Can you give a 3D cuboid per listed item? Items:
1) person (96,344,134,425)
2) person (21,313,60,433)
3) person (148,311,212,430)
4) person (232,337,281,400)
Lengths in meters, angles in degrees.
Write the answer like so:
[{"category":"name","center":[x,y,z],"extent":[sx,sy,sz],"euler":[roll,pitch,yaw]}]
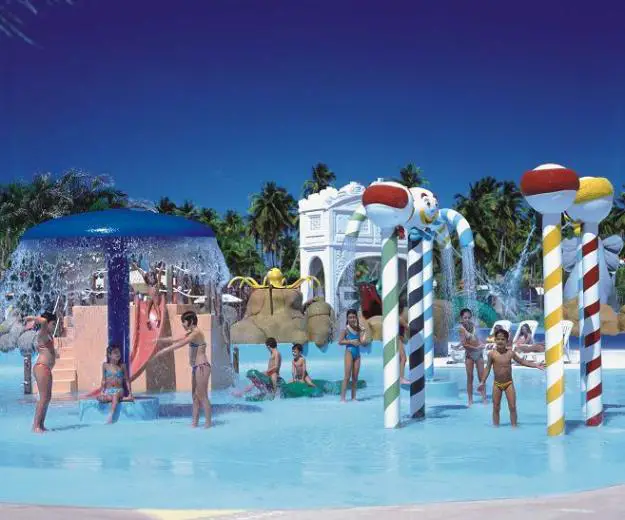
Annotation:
[{"category":"person","center":[-2.740,1.700,10.177],"extent":[0.439,1.054,0.721],"euler":[-1,-1,-10]},{"category":"person","center":[-3.547,1.464,9.613],"extent":[0.364,1.560,1.174],"euler":[-1,-2,-19]},{"category":"person","center":[-1.838,1.525,10.660],"extent":[0.719,1.611,3.106],"euler":[-1,-1,-10]},{"category":"person","center":[-0.906,1.867,12.776],"extent":[0.712,1.052,1.056],"euler":[-1,-1,-5]}]
